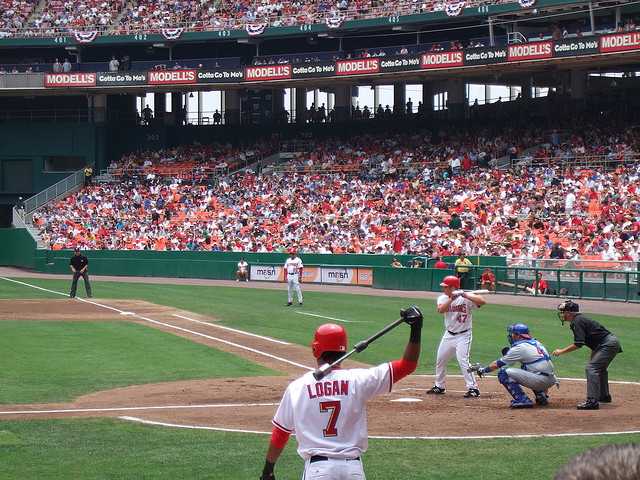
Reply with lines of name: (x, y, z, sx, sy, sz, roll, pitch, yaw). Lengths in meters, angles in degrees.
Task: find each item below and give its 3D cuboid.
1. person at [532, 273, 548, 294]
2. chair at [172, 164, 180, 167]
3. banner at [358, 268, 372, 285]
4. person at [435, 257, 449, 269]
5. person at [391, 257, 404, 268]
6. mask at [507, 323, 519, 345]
person: (11.196, 2.169, 70.259, 0.506, 1.013, 0.160, -1, 0, 6)
chair: (-9.428, -4.824, 89.625, 0.514, 0.156, 0.159, -2, -1, 36)
banner: (2.398, 1.938, 75.815, 1.034, 0.997, 0.750, 3, 10, 7)
person: (6.259, 1.175, 71.994, 0.675, 0.572, 1.276, -1, -1, 4)
person: (4.040, 1.180, 74.322, 0.546, 0.527, 1.135, -1, -1, -35)
mask: (7.484, 3.618, 54.953, 0.515, 0.535, 0.575, -6, 32, -4)
